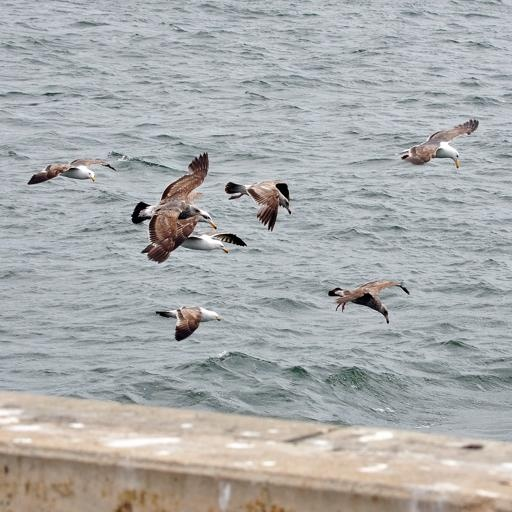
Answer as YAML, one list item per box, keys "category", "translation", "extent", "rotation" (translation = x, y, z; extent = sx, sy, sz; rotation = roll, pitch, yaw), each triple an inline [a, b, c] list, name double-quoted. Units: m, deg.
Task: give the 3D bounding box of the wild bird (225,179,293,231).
- category: "wild bird"
  translation: [0.027, -0.856, 19.778]
  extent: [1.168, 0.414, 1.626]
  rotation: [26, 10, -5]

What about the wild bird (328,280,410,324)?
- category: "wild bird"
  translation: [1.889, 0.815, 18.760]
  extent: [0.671, 0.235, 0.931]
  rotation: [25, 17, 32]
